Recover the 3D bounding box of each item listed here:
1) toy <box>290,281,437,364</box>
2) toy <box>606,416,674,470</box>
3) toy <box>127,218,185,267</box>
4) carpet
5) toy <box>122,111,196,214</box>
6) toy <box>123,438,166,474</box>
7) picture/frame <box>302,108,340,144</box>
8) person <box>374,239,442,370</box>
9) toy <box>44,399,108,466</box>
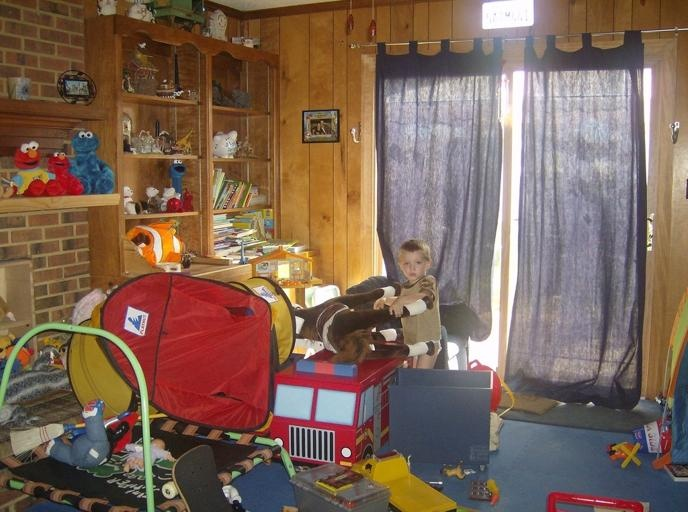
[{"bbox_3d":[0.127,0.376,3.090,0.711,0.347,0.404,-6,12,-33],"label":"toy"},{"bbox_3d":[1.668,1.070,3.248,0.307,0.202,0.126,-16,-22,5],"label":"toy"},{"bbox_3d":[-1.188,-0.096,3.757,0.187,0.256,0.340,-14,5,10],"label":"toy"},{"bbox_3d":[1.590,1.078,3.946,0.836,0.012,0.937,-3,-6,31],"label":"carpet"},{"bbox_3d":[-1.314,-0.619,3.928,0.326,0.655,0.613,7,11,31],"label":"toy"},{"bbox_3d":[-0.802,0.797,2.350,0.181,0.095,0.245,-3,10,-22],"label":"toy"},{"bbox_3d":[-0.169,-1.039,4.576,0.270,0.232,0.013,5,13,23],"label":"picture/frame"},{"bbox_3d":[0.400,0.436,3.467,0.369,1.048,0.347,-4,10,-10],"label":"person"},{"bbox_3d":[-1.064,0.701,2.301,0.282,0.277,0.086,5,10,23],"label":"toy"}]
